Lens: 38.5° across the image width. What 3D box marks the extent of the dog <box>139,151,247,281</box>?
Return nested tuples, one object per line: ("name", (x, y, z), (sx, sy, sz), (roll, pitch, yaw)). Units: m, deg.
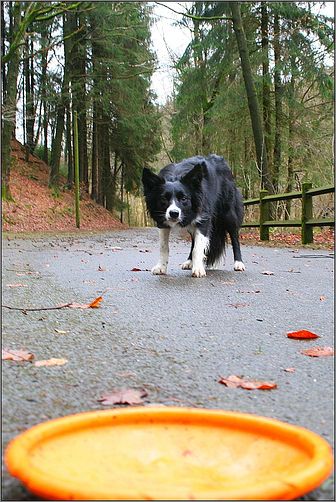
("dog", (0.405, -0.435, 6.398), (0.775, 1.442, 2.398), (5, 10, 23))
